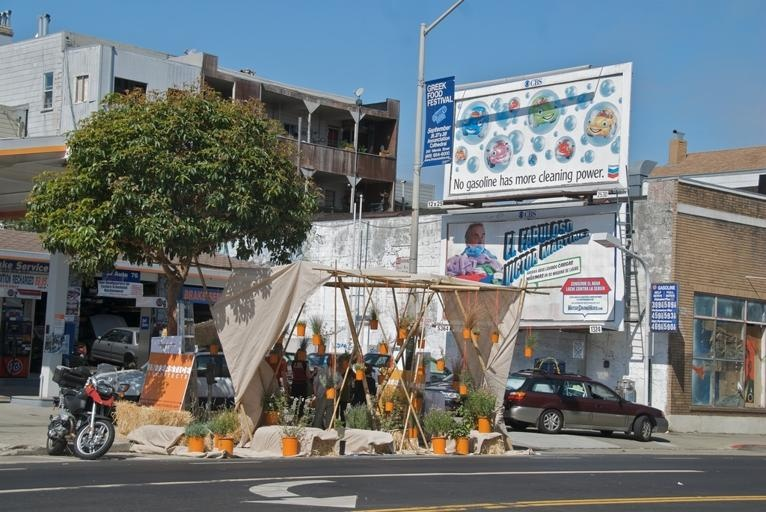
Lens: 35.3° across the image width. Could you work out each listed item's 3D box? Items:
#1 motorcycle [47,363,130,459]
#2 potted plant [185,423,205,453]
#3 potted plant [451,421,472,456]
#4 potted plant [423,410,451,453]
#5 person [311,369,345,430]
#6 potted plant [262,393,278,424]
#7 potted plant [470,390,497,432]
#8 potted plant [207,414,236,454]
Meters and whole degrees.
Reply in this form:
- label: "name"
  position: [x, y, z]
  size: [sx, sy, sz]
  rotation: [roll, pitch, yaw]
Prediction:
- label: "motorcycle"
  position: [-8.254, 4.278, 33.170]
  size: [1.876, 2.431, 0.783]
  rotation: [1, -3, 27]
- label: "potted plant"
  position: [-5.395, 5.175, 34.594]
  size: [0.620, 0.721, 0.668]
  rotation: [0, -4, 18]
- label: "potted plant"
  position: [2.473, 5.451, 36.784]
  size: [0.456, 0.990, 0.661]
  rotation: [0, -3, 40]
- label: "potted plant"
  position: [1.732, 5.334, 37.014]
  size: [0.845, 1.326, 1.001]
  rotation: [-9, -15, 27]
- label: "person"
  position: [-1.700, 4.326, 36.763]
  size: [0.811, 1.798, 0.834]
  rotation: [3, -2, -24]
- label: "potted plant"
  position: [-3.386, 4.552, 36.032]
  size: [0.668, 0.853, 0.682]
  rotation: [1, -11, -5]
- label: "potted plant"
  position: [3.206, 4.813, 37.573]
  size: [0.686, 1.118, 0.846]
  rotation: [1, -6, 6]
- label: "potted plant"
  position: [-4.660, 5.069, 34.906]
  size: [0.806, 1.163, 1.198]
  rotation: [3, -3, -9]
